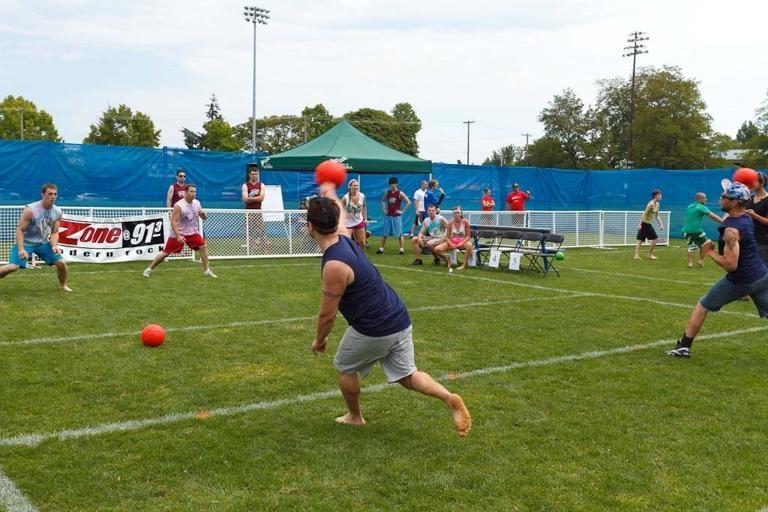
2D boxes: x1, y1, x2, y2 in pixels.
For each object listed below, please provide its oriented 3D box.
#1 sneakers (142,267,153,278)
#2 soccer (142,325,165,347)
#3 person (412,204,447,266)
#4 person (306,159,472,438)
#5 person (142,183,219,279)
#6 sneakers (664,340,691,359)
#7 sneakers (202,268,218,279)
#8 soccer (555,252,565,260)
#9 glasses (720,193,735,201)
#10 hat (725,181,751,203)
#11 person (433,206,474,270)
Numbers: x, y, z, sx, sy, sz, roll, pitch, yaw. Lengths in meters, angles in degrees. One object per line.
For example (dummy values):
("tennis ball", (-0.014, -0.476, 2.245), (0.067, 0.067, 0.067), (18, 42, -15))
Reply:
("sneakers", (-4.644, 0.318, 13.841), (0.154, 0.126, 0.349), (-46, 16, -18))
("soccer", (-2.915, 0.994, 8.920), (0.271, 0.226, 0.325), (-4, 15, -20))
("person", (1.189, -0.498, 17.049), (1.054, 1.415, 0.893), (1, -1, 20))
("person", (-0.026, 0.561, 6.717), (1.454, 2.240, 0.671), (3, 15, 5))
("person", (-3.887, -0.461, 13.752), (1.088, 1.894, 0.451), (-10, 19, -38))
("sneakers", (3.709, 1.187, 8.991), (0.401, 0.224, 0.144), (-1, -5, 43))
("sneakers", (-3.525, 0.335, 14.201), (0.378, 0.154, 0.131), (9, 9, 35))
("soccer", (4.169, -0.023, 16.846), (0.153, 0.106, 0.152), (-11, 22, 36))
("glasses", (4.152, -0.727, 8.574), (0.116, 0.033, 0.108), (15, 2, -8))
("hat", (4.252, -0.773, 8.512), (0.215, 0.136, 0.278), (-13, 33, -14))
("person", (1.548, -0.432, 16.327), (0.954, 1.408, 0.880), (-4, 8, -7))
